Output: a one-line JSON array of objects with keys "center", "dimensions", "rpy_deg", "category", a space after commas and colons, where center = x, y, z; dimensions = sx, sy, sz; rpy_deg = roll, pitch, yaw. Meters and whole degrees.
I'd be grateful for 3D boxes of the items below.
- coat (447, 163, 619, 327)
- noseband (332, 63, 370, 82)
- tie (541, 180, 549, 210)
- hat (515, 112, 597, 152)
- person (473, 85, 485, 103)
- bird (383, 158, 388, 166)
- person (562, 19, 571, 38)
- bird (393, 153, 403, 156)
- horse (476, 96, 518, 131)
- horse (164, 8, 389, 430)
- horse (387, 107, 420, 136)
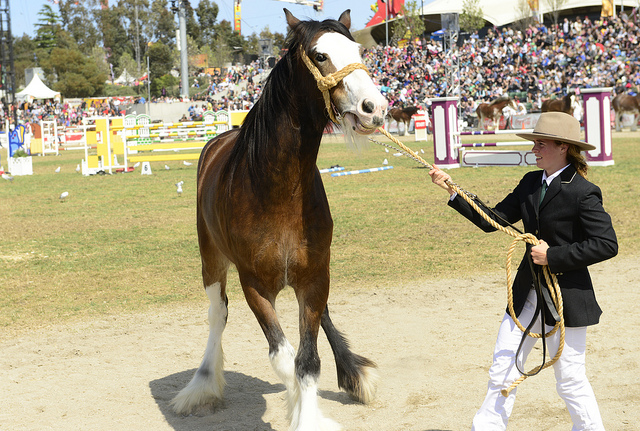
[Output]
[{"center": [3.089, 0.258, 12.258], "dimensions": [1.301, 2.258, 2.371], "rpy_deg": [-16, 19, -42], "category": "coat"}, {"center": [0.379, -1.941, 11.690], "dimensions": [0.317, 0.085, 0.249], "rpy_deg": [-14, -3, -20], "category": "noseband"}, {"center": [3.001, -0.275, 11.735], "dimensions": [0.066, 0.391, 0.105], "rpy_deg": [4, -11, 20], "category": "tie"}, {"center": [3.263, -1.196, 11.882], "dimensions": [1.177, 0.400, 1.056], "rpy_deg": [6, 9, -18], "category": "hat"}, {"center": [7.470, -5.753, 41.008], "dimensions": [0.349, 0.734, 1.137], "rpy_deg": [-4, 8, -2], "category": "person"}, {"center": [2.095, -1.706, 27.849], "dimensions": [0.206, 0.232, 0.211], "rpy_deg": [0, 18, 7], "category": "bird"}, {"center": [11.360, -8.664, 40.468], "dimensions": [0.362, 0.862, 0.823], "rpy_deg": [-1, 9, 16], "category": "person"}, {"center": [2.758, -2.181, 31.259], "dimensions": [0.267, 0.082, 0.456], "rpy_deg": [-2, 8, 5], "category": "bird"}, {"center": [7.095, -4.122, 35.930], "dimensions": [0.587, 1.579, 2.286], "rpy_deg": [1, 2, -32], "category": "horse"}, {"center": [-0.566, 0.116, 12.256], "dimensions": [2.981, 5.889, 1.217], "rpy_deg": [0, 9, 25], "category": "horse"}, {"center": [3.669, -4.229, 38.614], "dimensions": [2.147, 1.325, 0.539], "rpy_deg": [6, 9, 41], "category": "horse"}]
